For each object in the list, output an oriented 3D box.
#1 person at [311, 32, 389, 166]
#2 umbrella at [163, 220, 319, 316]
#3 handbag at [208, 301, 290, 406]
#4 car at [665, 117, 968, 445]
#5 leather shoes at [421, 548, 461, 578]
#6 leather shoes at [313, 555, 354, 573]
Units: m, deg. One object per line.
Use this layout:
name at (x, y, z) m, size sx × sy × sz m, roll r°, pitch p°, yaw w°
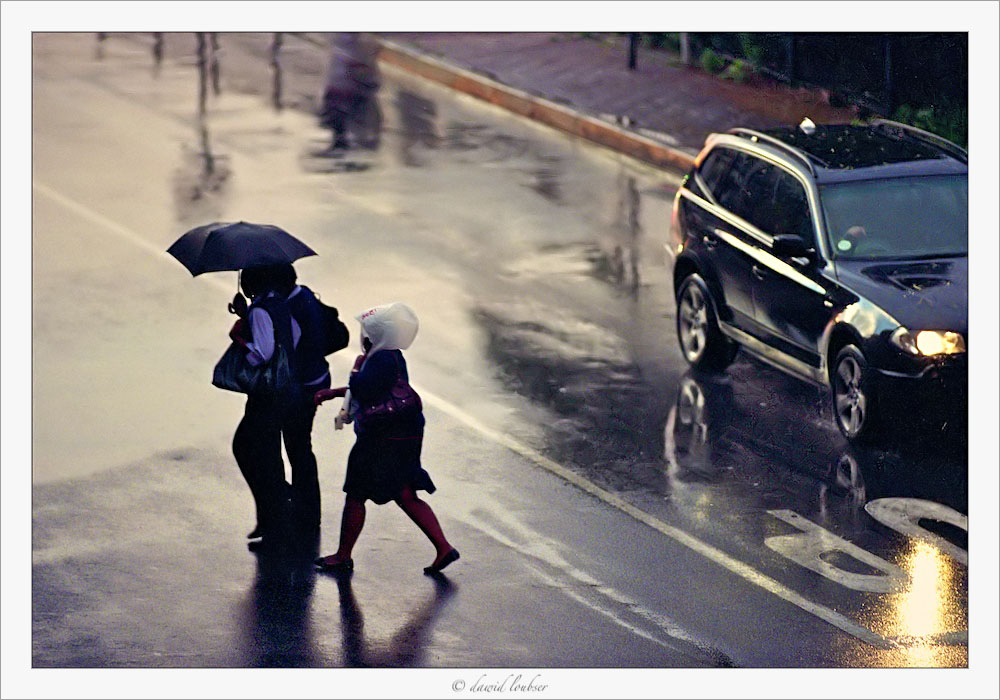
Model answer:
person at (-2.700, -4.528, 22.827) m, size 0.937 × 0.945 × 3.141 m, roll -2°, pitch 30°, yaw -3°
umbrella at (-2.229, -0.675, 10.852) m, size 0.890 × 0.696 × 1.020 m, roll -5°, pitch -6°, yaw -9°
handbag at (-2.231, -0.183, 11.376) m, size 0.636 × 1.012 × 0.848 m, roll 0°, pitch 25°, yaw -7°
car at (3.712, -0.856, 13.733) m, size 1.698 × 3.052 × 3.651 m, roll -5°, pitch 18°, yaw -32°
leather shoes at (-0.530, 1.913, 11.426) m, size 0.435 × 0.188 × 0.162 m, roll -33°, pitch 9°, yaw 35°
leather shoes at (-1.494, 1.925, 11.398) m, size 0.341 × 0.146 × 0.136 m, roll 13°, pitch 11°, yaw -6°
